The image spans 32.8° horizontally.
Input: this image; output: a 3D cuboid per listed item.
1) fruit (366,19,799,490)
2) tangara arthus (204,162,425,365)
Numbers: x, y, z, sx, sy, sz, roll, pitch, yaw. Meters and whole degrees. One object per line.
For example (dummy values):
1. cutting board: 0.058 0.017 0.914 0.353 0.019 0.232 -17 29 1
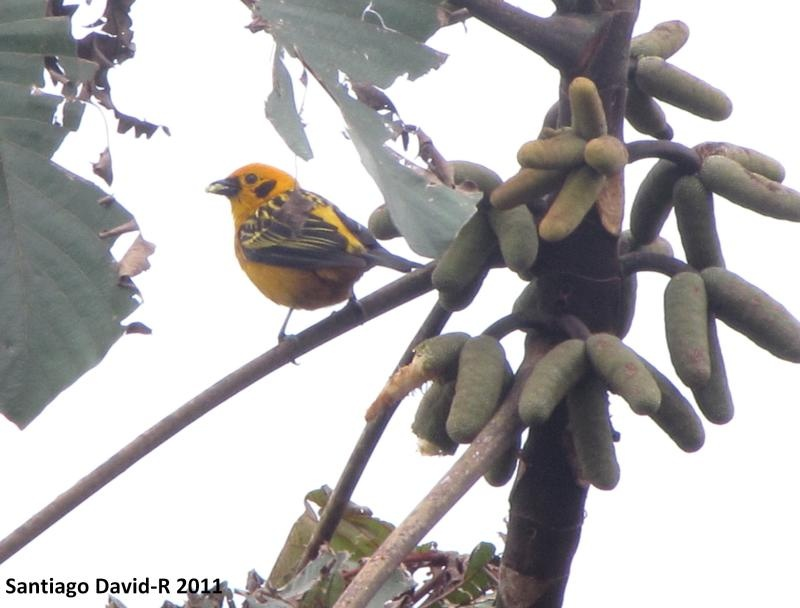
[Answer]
1. fruit: 0.345 -0.090 2.768 0.785 0.899 0.679 8 -33 -2
2. tangara arthus: -0.236 -0.200 4.250 0.729 0.400 0.507 0 -84 38
